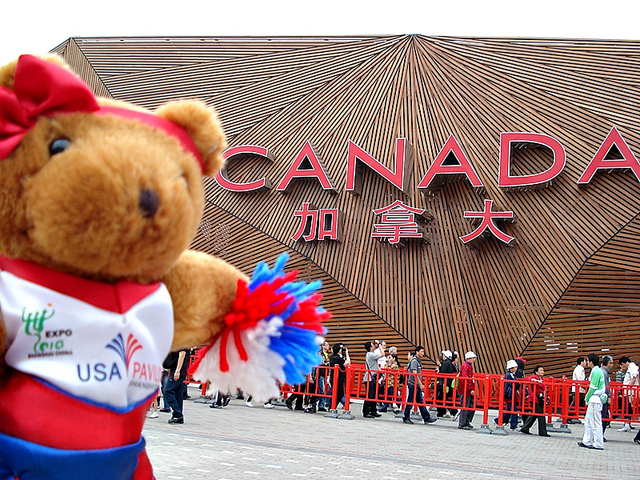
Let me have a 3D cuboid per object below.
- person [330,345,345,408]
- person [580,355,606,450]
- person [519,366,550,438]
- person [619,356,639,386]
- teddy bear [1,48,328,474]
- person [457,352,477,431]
[{"bbox_3d":[0.309,2.530,11.294,0.304,1.132,0.538,3,-10,2],"label":"person"},{"bbox_3d":[4.210,2.445,9.205,0.396,1.389,0.453,5,-17,13],"label":"person"},{"bbox_3d":[3.799,2.800,10.563,0.471,1.128,1.219,0,-11,20],"label":"person"},{"bbox_3d":[6.234,2.616,12.033,0.249,0.715,0.389,-8,-28,24],"label":"person"},{"bbox_3d":[-0.793,0.124,2.660,1.329,1.763,0.496,10,-12,-34],"label":"teddy bear"},{"bbox_3d":[2.651,2.672,10.774,0.319,1.334,1.289,1,-10,15],"label":"person"}]
